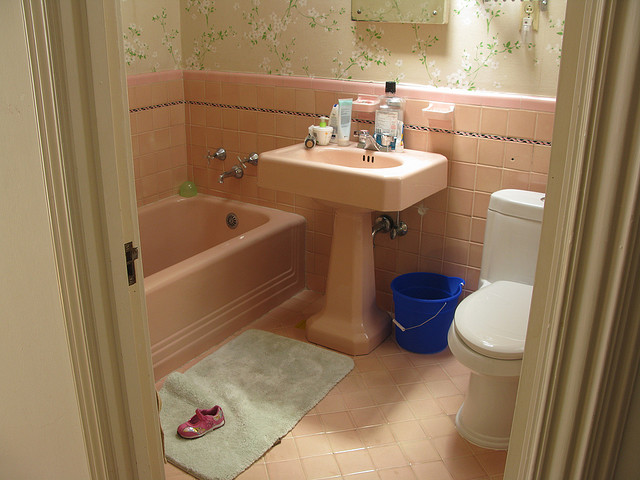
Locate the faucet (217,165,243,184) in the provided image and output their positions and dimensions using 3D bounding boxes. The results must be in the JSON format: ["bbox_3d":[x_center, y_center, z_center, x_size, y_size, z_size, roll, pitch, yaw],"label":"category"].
[{"bbox_3d":[-0.603,-0.445,3.127,0.087,0.089,0.168,15,28,31],"label":"faucet"}]

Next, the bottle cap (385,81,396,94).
[{"bbox_3d":[0.373,-0.814,2.513,0.052,0.062,0.052,-3,18,-6],"label":"bottle cap"}]

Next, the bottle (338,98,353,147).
[{"bbox_3d":[0.137,-0.674,2.692,0.081,0.251,0.153,2,23,3],"label":"bottle"}]

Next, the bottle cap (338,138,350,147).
[{"bbox_3d":[0.131,-0.561,2.682,0.045,0.030,0.044,-20,28,-39],"label":"bottle cap"}]

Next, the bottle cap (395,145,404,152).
[{"bbox_3d":[0.431,-0.499,2.576,0.029,0.025,0.031,2,21,5],"label":"bottle cap"}]

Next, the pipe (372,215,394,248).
[{"bbox_3d":[0.356,-0.046,2.704,0.071,0.095,0.153,24,52,32],"label":"pipe"}]

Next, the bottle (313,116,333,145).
[{"bbox_3d":[0.012,-0.616,2.652,0.128,0.172,0.135,0,18,0],"label":"bottle"}]

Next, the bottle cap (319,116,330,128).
[{"bbox_3d":[0.025,-0.669,2.688,0.056,0.071,0.061,-6,35,-4],"label":"bottle cap"}]

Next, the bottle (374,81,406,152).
[{"bbox_3d":[0.383,-0.683,2.595,0.173,0.361,0.190,3,23,6],"label":"bottle"}]

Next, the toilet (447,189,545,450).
[{"bbox_3d":[0.788,0.330,2.176,0.314,0.939,0.700,10,25,22],"label":"toilet"}]

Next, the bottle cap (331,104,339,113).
[{"bbox_3d":[0.088,-0.757,2.698,0.043,0.047,0.045,9,22,24],"label":"bottle cap"}]

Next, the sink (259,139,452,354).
[{"bbox_3d":[0.223,0.048,2.642,0.898,1.135,0.611,10,18,33],"label":"sink"}]
